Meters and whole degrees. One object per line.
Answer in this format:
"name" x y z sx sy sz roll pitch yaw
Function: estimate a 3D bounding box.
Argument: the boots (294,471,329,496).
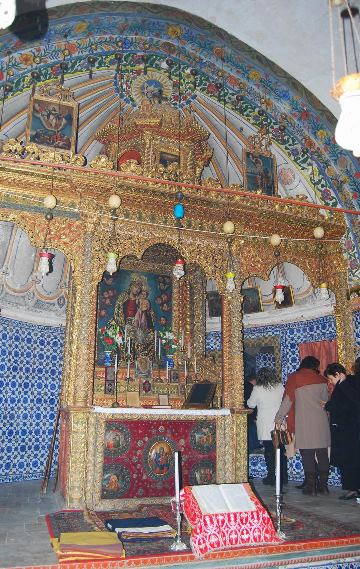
"boots" 1.843 2.691 8.492 0.226 0.392 0.591 0 -10 -15

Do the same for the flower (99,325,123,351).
"flower" -1.079 0.832 9.627 0.362 0.345 0.362 -7 -10 38

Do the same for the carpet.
"carpet" 0.218 2.453 6.317 3.057 0.387 2.195 2 -16 -14

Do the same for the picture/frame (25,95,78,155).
"picture/frame" -1.721 -2.107 8.323 0.930 0.935 0.099 7 -12 -31

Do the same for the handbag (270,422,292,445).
"handbag" 1.344 2.017 8.448 0.262 0.298 0.469 -15 -21 40
